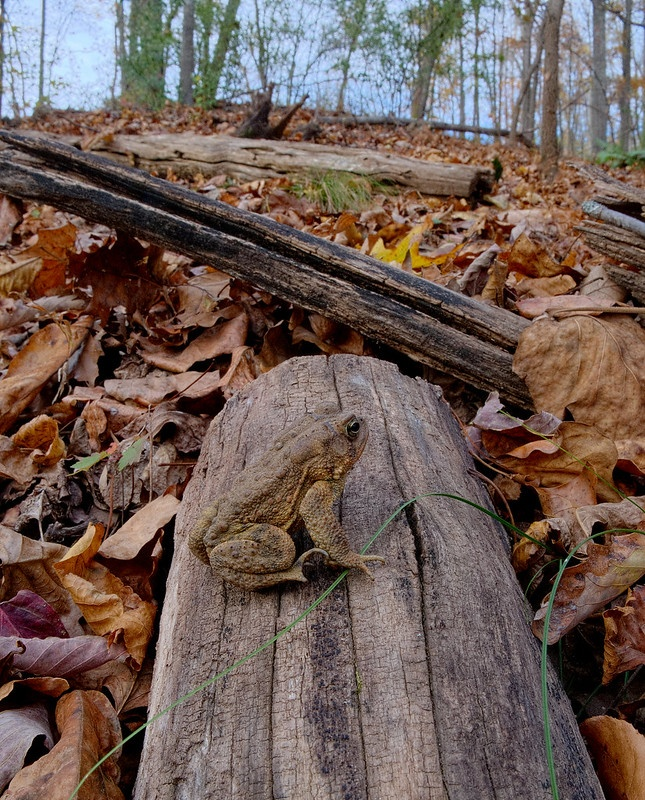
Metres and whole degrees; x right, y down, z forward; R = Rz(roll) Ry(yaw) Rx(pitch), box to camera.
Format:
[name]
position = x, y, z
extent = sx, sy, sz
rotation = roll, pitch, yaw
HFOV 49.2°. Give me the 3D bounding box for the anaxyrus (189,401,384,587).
[anaxyrus]
position = -0.088, 0.263, 1.977
extent = 0.534, 0.364, 0.518
rotation = -16, 18, -32
